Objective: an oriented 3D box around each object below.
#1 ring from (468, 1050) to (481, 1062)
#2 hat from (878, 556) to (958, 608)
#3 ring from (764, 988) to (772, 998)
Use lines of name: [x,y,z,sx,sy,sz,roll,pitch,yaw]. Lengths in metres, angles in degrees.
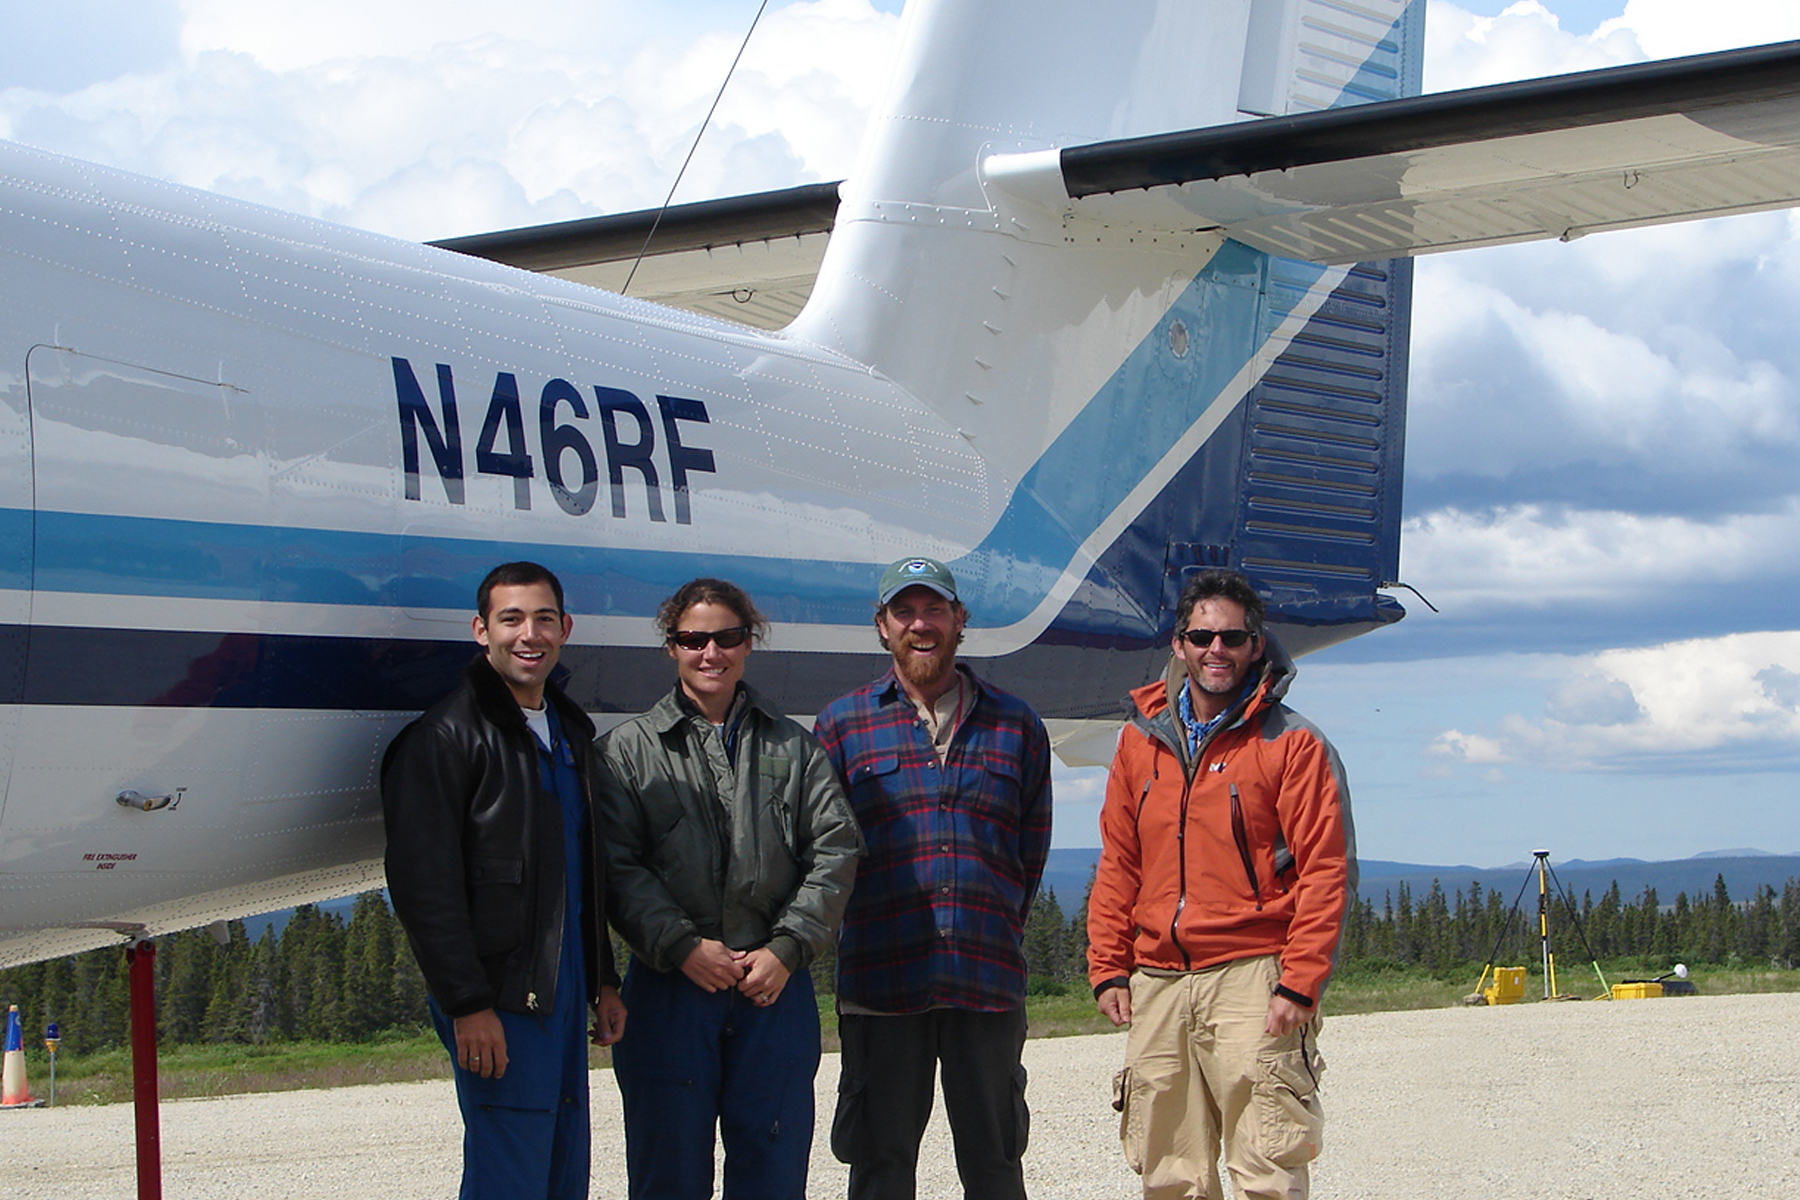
ring: [-1.510,1.617,5.369,0.049,0.020,0.016,-1,-12,-12]
hat: [0.087,-0.085,6.512,0.331,0.215,0.479,0,4,7]
ring: [-0.512,1.513,5.811,0.025,0.007,0.018,-29,-6,-36]
